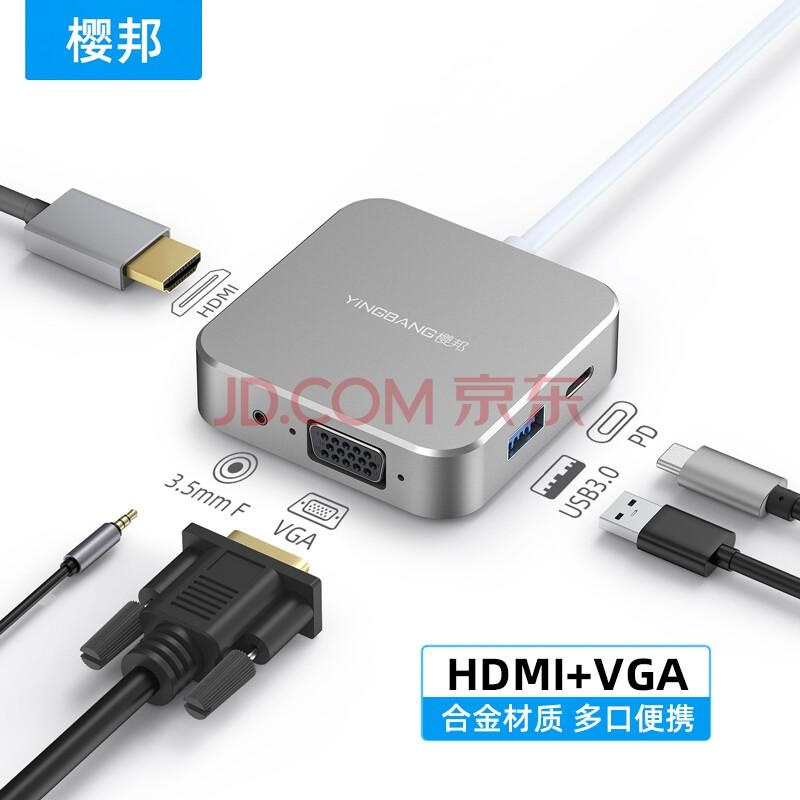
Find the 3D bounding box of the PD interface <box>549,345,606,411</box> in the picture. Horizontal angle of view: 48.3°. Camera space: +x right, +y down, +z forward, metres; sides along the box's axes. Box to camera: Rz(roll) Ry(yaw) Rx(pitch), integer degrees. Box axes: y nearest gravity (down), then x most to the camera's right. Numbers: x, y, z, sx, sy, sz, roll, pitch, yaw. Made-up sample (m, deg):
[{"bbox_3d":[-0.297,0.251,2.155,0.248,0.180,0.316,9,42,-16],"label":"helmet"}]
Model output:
[{"bbox_3d":[0.369,-0.031,1.866,0.033,0.143,0.034,25,-48,23],"label":"PD interface"}]
